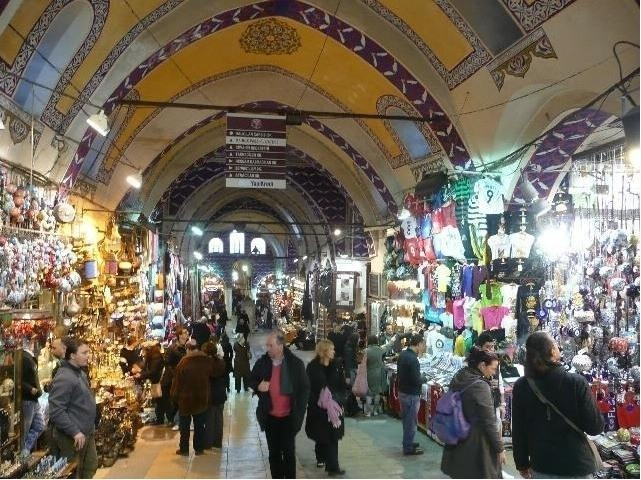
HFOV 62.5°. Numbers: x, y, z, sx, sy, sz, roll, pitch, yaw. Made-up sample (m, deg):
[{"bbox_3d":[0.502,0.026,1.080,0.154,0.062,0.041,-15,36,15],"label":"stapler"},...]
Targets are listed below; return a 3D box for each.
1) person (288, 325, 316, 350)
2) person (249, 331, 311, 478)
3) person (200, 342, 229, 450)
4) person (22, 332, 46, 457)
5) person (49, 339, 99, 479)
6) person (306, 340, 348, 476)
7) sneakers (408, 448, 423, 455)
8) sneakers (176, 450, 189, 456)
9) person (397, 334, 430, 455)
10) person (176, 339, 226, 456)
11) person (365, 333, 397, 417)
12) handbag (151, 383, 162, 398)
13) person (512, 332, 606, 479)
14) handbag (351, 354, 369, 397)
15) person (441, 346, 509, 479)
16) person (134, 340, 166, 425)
[{"bbox_3d":[-0.560,3.362,18.213,0.634,0.536,1.100,1,-8,-9],"label":"person"},{"bbox_3d":[-0.416,1.669,5.359,0.590,1.476,0.311,0,-5,-7],"label":"person"},{"bbox_3d":[-1.461,2.065,7.123,0.401,1.429,0.416,-5,-20,-2],"label":"person"},{"bbox_3d":[-2.716,1.448,4.992,0.198,1.040,0.780,2,-6,-28],"label":"person"},{"bbox_3d":[-2.244,1.556,4.806,0.384,1.333,0.437,1,-5,-23],"label":"person"},{"bbox_3d":[0.054,1.889,6.006,0.463,1.519,0.533,-1,-5,-2],"label":"person"},{"bbox_3d":[1.195,2.657,6.705,0.188,0.088,0.080,-3,2,-4],"label":"sneakers"},{"bbox_3d":[-1.768,2.713,6.772,0.113,0.084,0.039,9,-5,19],"label":"sneakers"},{"bbox_3d":[1.163,1.959,6.813,0.335,1.477,0.263,-2,-5,8],"label":"person"},{"bbox_3d":[-1.600,2.050,6.797,0.487,1.397,0.660,-3,-5,24],"label":"person"},{"bbox_3d":[0.933,2.208,8.701,0.490,1.381,1.311,-2,-5,8],"label":"person"},{"bbox_3d":[-2.413,2.192,7.760,0.216,0.221,0.079,2,3,28],"label":"handbag"},{"bbox_3d":[1.767,1.260,4.001,0.612,1.131,0.243,-3,-5,21],"label":"person"},{"bbox_3d":[0.603,2.088,8.199,0.235,0.673,0.320,-1,-5,3],"label":"handbag"},{"bbox_3d":[1.279,1.473,4.529,0.514,1.066,0.227,-2,-5,14],"label":"person"},{"bbox_3d":[-2.595,2.198,8.072,0.392,1.315,0.822,1,-5,-17],"label":"person"}]
